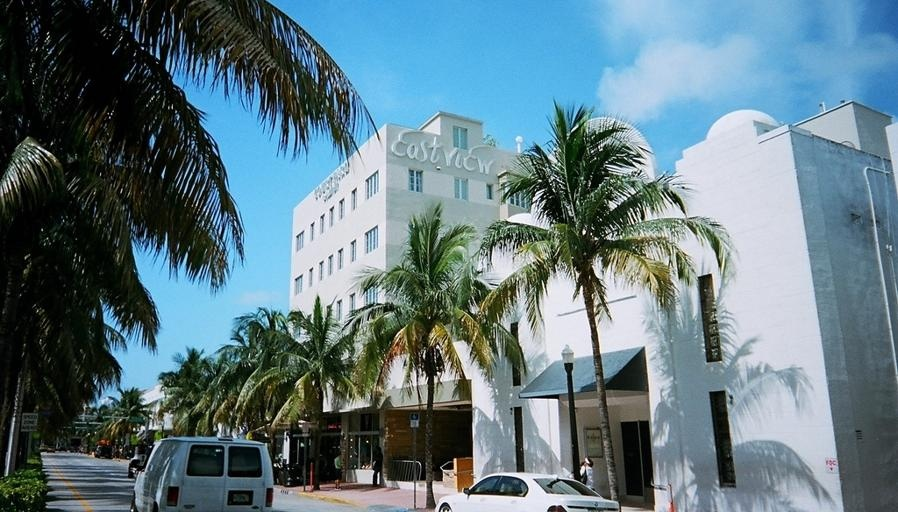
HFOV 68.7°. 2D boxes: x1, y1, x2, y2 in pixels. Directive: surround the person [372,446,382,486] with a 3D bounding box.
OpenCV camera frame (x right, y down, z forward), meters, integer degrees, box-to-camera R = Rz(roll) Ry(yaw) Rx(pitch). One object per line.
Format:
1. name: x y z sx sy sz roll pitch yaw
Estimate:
1. person: -4.037 11.861 37.242 0.527 2.243 1.074 3 -21 -8
